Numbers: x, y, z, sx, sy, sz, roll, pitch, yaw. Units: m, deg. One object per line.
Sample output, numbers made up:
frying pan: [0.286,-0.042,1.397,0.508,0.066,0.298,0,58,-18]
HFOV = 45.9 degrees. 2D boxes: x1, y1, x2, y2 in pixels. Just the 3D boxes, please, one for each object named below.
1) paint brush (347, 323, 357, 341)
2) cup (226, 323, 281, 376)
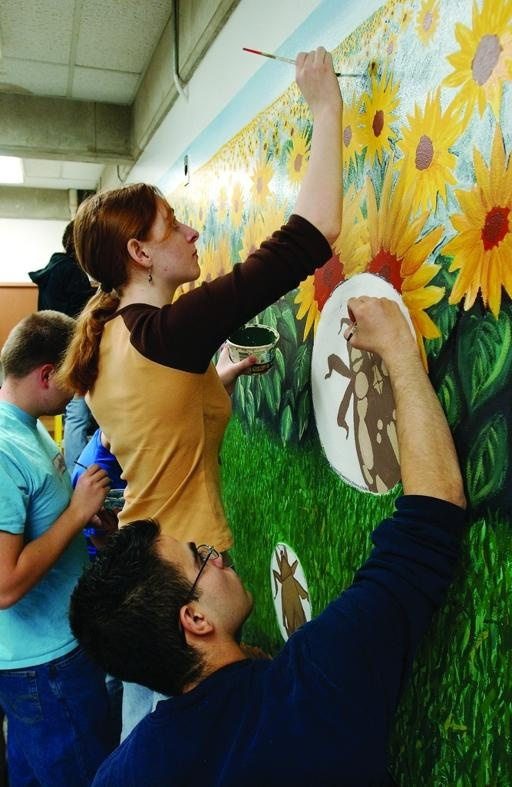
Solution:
paint brush: [0.164,-0.104,1.038,0.006,0.026,0.026,16,-3,6]
cup: [0.000,-0.104,1.424,0.101,0.083,0.115,10,36,14]
